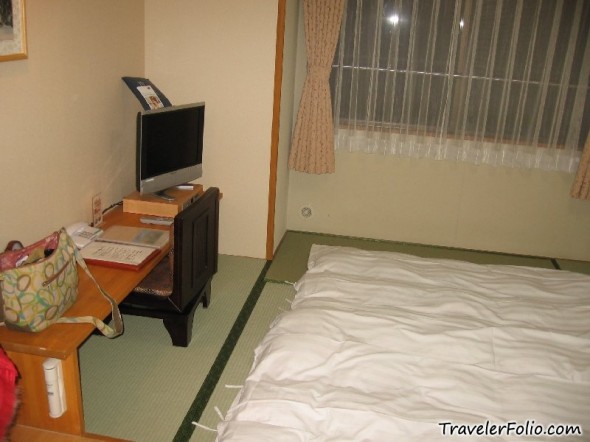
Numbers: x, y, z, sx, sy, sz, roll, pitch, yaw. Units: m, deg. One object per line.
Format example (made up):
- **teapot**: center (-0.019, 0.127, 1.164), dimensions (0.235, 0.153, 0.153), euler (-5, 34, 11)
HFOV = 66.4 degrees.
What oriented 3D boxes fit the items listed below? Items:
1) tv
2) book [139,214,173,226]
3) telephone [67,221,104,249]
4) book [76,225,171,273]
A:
- **tv**: center (-0.894, -0.493, 3.202), dimensions (0.092, 0.575, 0.688), euler (14, 19, 15)
- **book**: center (-0.946, -0.004, 3.069), dimensions (0.144, 0.035, 0.143), euler (7, 6, 42)
- **telephone**: center (-1.277, 0.080, 2.734), dimensions (0.160, 0.042, 0.171), euler (28, 39, 13)
- **book**: center (-1.007, 0.150, 2.649), dimensions (0.239, 0.038, 0.350), euler (5, 26, 3)
